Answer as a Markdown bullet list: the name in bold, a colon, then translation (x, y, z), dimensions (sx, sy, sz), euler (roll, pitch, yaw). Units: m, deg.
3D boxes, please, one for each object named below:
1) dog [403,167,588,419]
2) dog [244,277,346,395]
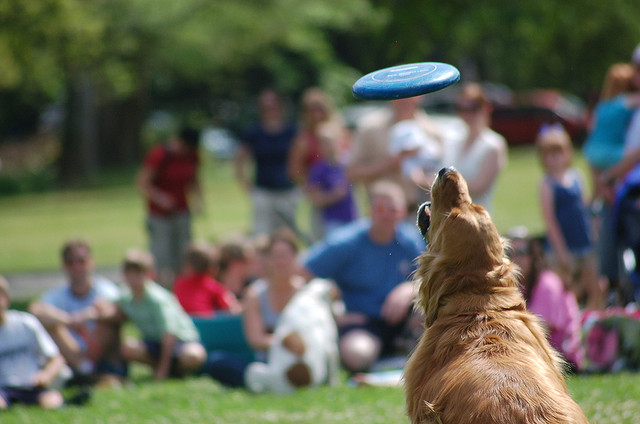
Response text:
- **dog**: translation (1.554, 1.126, 16.952), dimensions (1.105, 3.219, 1.611), euler (-13, -20, -5)
- **dog**: translation (-0.213, 1.382, 18.713), dimensions (1.239, 1.588, 0.915), euler (0, -7, -7)
